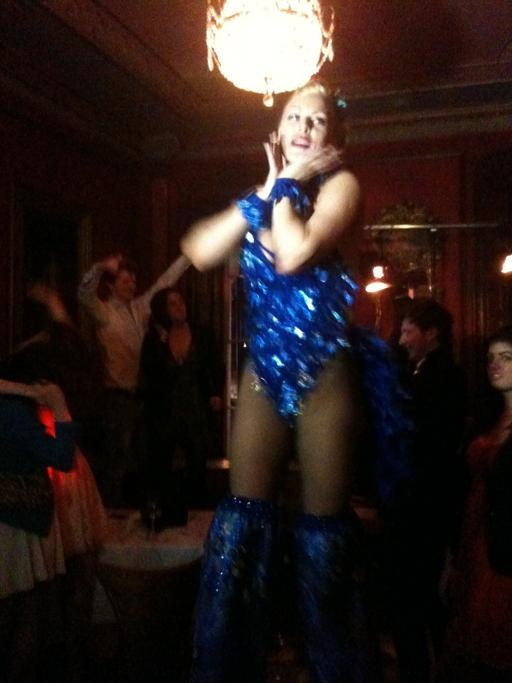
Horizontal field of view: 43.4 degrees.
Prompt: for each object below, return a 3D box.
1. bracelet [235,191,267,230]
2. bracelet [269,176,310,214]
[{"bbox_3d":[-0.009,-0.236,1.172,0.046,0.064,0.047,-5,-35,-10],"label":"bracelet"},{"bbox_3d":[0.062,-0.263,1.147,0.062,0.044,0.066,7,-36,12],"label":"bracelet"}]
